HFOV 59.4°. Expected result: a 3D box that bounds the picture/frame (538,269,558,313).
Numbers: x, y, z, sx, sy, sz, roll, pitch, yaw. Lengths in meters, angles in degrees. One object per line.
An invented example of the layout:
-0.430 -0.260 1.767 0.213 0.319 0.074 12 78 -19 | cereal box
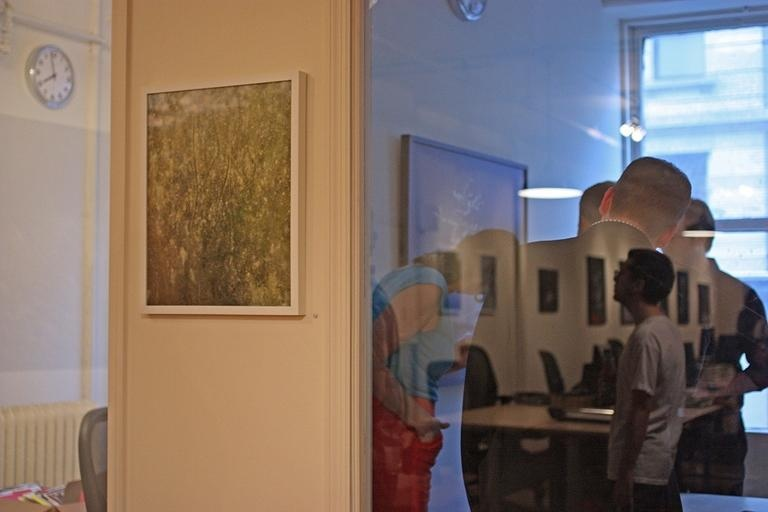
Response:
0.592 0.132 2.416 0.082 0.170 0.016 4 -18 -1 | picture/frame

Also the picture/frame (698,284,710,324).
1.077 0.166 2.264 0.041 0.183 0.015 1 35 27 | picture/frame

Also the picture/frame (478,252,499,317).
0.389 0.107 2.488 0.068 0.297 0.015 3 35 14 | picture/frame

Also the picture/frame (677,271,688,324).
1.014 0.146 2.283 0.041 0.199 0.008 0 -23 25 | picture/frame

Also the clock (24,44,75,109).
-1.530 -0.827 3.101 0.236 0.301 0.034 0 -1 12 | clock

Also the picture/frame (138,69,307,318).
-0.622 -0.234 2.725 0.958 1.284 0.087 1 1 25 | picture/frame

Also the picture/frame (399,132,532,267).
0.325 -0.206 2.492 0.476 0.531 0.037 0 0 12 | picture/frame

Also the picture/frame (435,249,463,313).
0.246 0.094 2.523 0.094 0.243 0.024 -8 -31 12 | picture/frame
